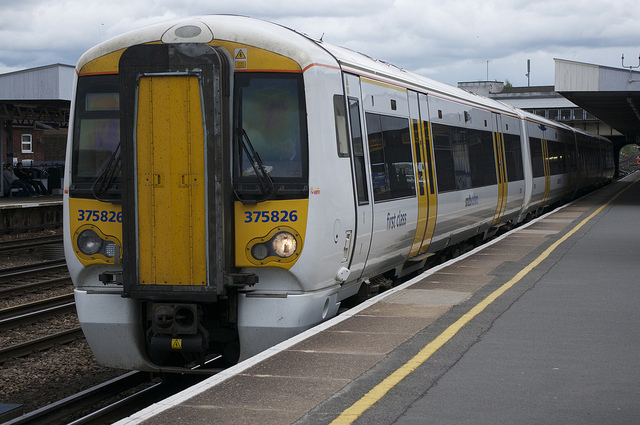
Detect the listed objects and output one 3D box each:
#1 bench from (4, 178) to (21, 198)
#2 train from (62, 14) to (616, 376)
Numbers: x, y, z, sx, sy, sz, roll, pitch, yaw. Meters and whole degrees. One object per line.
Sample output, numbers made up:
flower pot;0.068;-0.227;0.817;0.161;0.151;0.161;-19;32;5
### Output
bench;-16.584;-1.283;28.817;0.745;1.129;0.815;-2;3;-13
train;2.919;-0.811;15.312;3.774;5.393;20.807;0;3;27
